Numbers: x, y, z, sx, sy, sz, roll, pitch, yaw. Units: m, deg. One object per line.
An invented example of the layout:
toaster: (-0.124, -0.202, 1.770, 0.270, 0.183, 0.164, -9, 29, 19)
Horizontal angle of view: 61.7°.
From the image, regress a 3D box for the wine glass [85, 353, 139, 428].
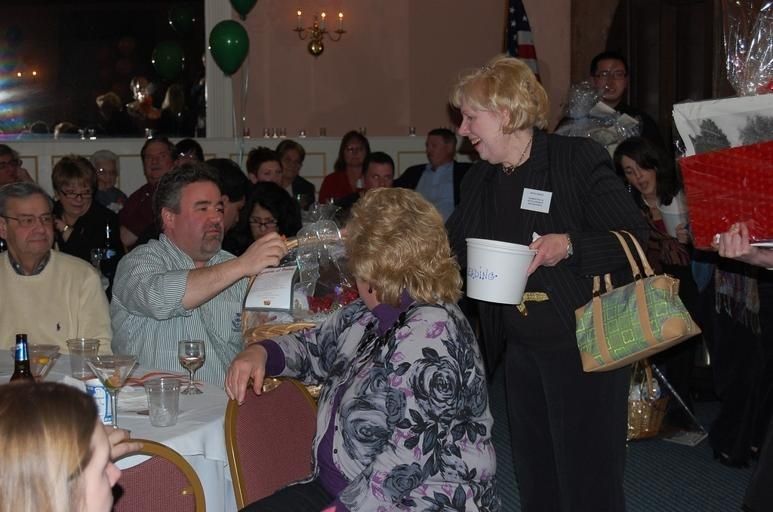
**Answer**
wine glass: (-1.099, 0.566, 2.625, 0.219, 0.287, 0.221, 0, -9, -13)

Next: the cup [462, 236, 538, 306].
cup: (0.475, 0.054, 2.808, 0.263, 0.218, 0.265, 7, 3, 0)

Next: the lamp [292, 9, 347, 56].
lamp: (-1.209, -3.881, 11.493, 0.829, 0.856, 0.431, 5, 11, 6)

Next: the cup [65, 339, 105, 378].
cup: (-1.346, 0.459, 2.897, 0.141, 0.172, 0.150, 1, 2, 0)

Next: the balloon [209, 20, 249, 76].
balloon: (-2.035, -2.776, 8.710, 0.585, 0.849, 0.626, 0, 8, -3)

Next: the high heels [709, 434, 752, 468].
high heels: (2.241, 1.273, 4.222, 0.167, 0.124, 0.153, 2, 2, 8)

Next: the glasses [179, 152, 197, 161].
glasses: (-1.958, -0.984, 6.392, 0.101, 0.085, 0.138, -9, 18, -38)

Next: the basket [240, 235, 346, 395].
basket: (-0.370, 0.209, 3.016, 0.617, 0.694, 0.522, -2, 3, 3)

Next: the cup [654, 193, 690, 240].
cup: (2.022, -0.298, 4.562, 0.233, 0.202, 0.228, -7, -1, 0)

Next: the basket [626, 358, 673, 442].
basket: (1.887, 1.016, 4.700, 0.226, 0.458, 0.336, -5, -5, 3)

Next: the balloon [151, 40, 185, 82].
balloon: (-3.336, -3.002, 10.079, 0.526, 0.727, 0.559, -1, 2, -8)

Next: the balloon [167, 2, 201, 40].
balloon: (-3.193, -3.781, 10.268, 0.432, 0.520, 0.348, 0, 8, 29)
